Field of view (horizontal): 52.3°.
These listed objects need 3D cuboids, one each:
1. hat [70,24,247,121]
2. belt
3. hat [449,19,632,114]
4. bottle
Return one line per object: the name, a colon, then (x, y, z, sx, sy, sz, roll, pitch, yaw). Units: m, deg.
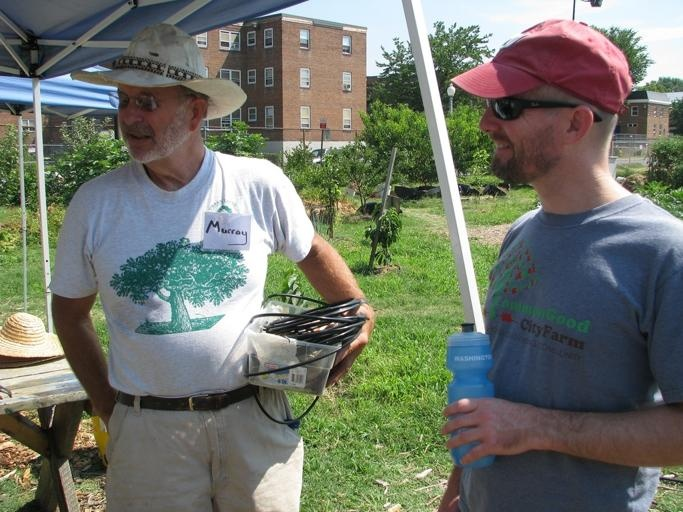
hat: (-0.872, -0.956, 3.308, 0.686, 0.269, 0.747, 15, 4, -17)
belt: (-0.625, 0.616, 2.975, 0.518, 0.083, 0.069, -2, 8, -12)
hat: (0.754, -0.717, 2.584, 0.667, 0.307, 0.409, 2, 24, 9)
bottle: (0.454, 0.513, 2.436, 0.177, 0.545, 0.292, 2, 8, 12)
